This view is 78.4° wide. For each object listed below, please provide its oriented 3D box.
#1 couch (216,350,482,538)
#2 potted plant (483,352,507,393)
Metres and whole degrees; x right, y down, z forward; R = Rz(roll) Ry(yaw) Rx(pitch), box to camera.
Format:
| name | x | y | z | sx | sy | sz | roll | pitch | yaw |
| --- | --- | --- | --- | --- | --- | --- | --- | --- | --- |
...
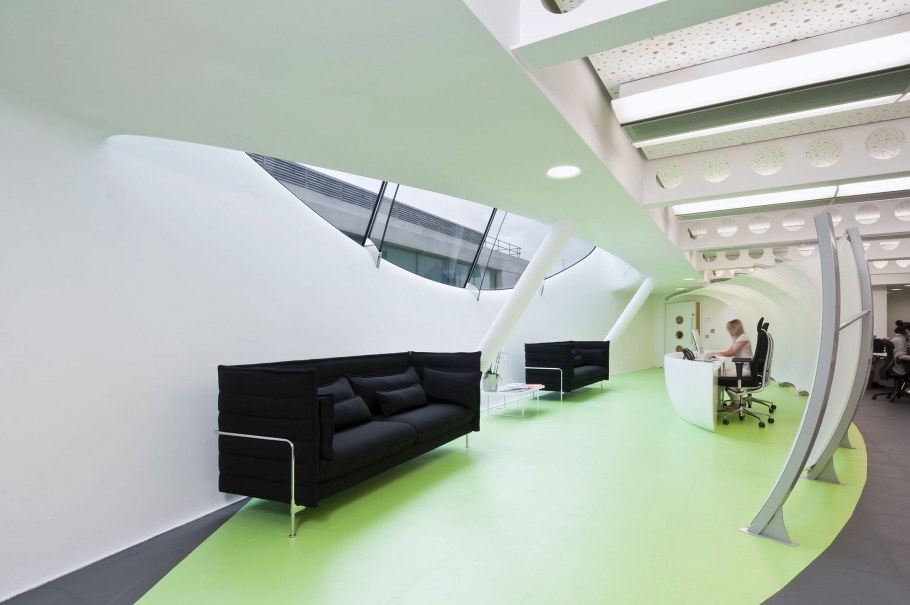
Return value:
| name | x | y | z | sx | sy | sz | roll | pitch | yaw |
| --- | --- | --- | --- | --- | --- | --- | --- | --- | --- |
| couch | -0.984 | 1.333 | 7.098 | 1.271 | 1.336 | 3.771 | -2 | -3 | 26 |
| potted plant | 0.634 | 1.266 | 9.871 | 0.586 | 0.732 | 0.557 | 4 | -4 | -4 |
